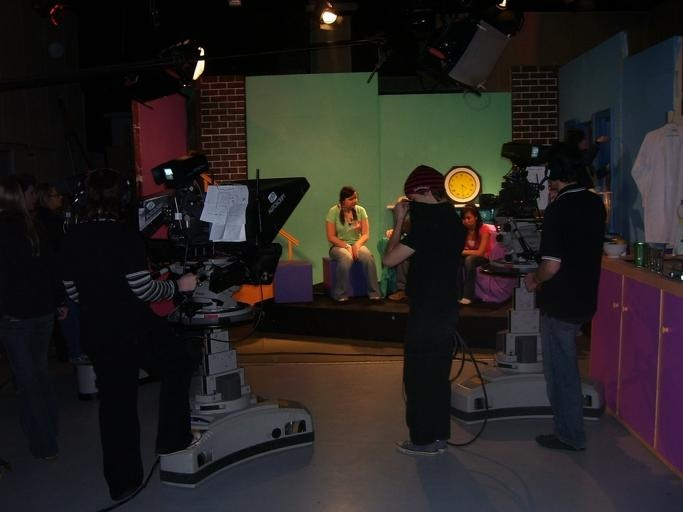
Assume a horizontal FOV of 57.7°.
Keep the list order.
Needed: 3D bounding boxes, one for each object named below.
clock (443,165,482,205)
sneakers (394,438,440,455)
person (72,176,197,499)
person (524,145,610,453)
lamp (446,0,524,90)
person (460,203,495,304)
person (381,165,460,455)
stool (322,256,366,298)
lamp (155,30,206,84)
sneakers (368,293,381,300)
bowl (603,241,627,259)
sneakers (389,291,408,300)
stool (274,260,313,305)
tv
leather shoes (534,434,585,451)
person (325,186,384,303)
[{"bbox_3d":[1.492,-0.903,8.066,0.562,0.595,0.546,0,5,-1],"label":"clock"},{"bbox_3d":[0.548,1.344,4.429,0.264,0.087,0.118,1,-7,10],"label":"sneakers"},{"bbox_3d":[-1.336,0.520,4.107,0.843,2.085,0.730,-8,18,-24],"label":"person"},{"bbox_3d":[1.573,0.296,4.346,0.420,2.134,0.393,5,14,23],"label":"person"},{"bbox_3d":[1.687,-2.512,7.268,0.823,0.932,0.537,2,13,11],"label":"lamp"},{"bbox_3d":[1.537,-0.051,6.997,0.385,1.034,0.719,2,13,12],"label":"person"},{"bbox_3d":[0.581,0.387,4.387,0.515,1.997,0.457,4,14,20],"label":"person"},{"bbox_3d":[0.043,0.300,7.554,0.449,0.483,0.448,0,-19,-2],"label":"stool"},{"bbox_3d":[-1.352,-1.651,5.246,0.246,0.365,0.404,12,18,44],"label":"lamp"},{"bbox_3d":[0.393,0.468,7.235,0.140,0.068,0.142,-1,13,0],"label":"sneakers"},{"bbox_3d":[2.210,-0.048,5.037,0.136,0.093,0.135,-1,0,0],"label":"bowl"},{"bbox_3d":[0.655,0.454,7.241,0.279,0.129,0.105,0,2,-8],"label":"sneakers"},{"bbox_3d":[-0.565,0.229,7.343,0.527,0.475,0.553,4,24,10],"label":"stool"},{"bbox_3d":[-0.499,-0.421,4.325,0.365,0.461,0.443,-2,47,-5],"label":"tv"},{"bbox_3d":[1.574,1.298,4.435,0.310,0.132,0.115,0,5,23],"label":"leather shoes"},{"bbox_3d":[0.142,-0.168,7.395,0.590,1.278,0.745,-3,13,-6],"label":"person"}]
